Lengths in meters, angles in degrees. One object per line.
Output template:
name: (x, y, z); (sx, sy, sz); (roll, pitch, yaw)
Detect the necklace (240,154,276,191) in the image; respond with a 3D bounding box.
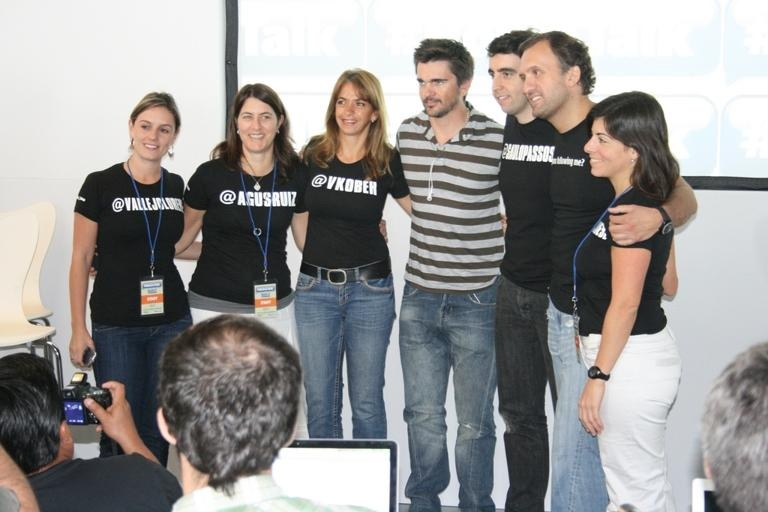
necklace: (-0.703, -0.453, 3.943); (0.131, 0.179, 0.046); (-7, -10, -14)

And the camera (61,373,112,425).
camera: (-1.250, 0.587, 3.012); (0.239, 0.180, 0.149); (1, 2, -15)

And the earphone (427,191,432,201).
earphone: (0.250, -0.324, 3.848); (0.031, 0.048, 0.010); (2, 7, 16)

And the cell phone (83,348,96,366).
cell phone: (-1.554, 0.531, 3.738); (0.020, 0.084, 0.085); (24, 29, -36)

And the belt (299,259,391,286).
belt: (-0.215, 0.088, 3.907); (0.492, 0.118, 0.104); (-1, 7, -2)

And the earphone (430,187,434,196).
earphone: (0.261, -0.347, 3.847); (0.025, 0.036, 0.009); (-1, -6, 26)

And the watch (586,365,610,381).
watch: (0.943, 0.518, 3.142); (0.067, 0.069, 0.069); (6, -7, -7)
